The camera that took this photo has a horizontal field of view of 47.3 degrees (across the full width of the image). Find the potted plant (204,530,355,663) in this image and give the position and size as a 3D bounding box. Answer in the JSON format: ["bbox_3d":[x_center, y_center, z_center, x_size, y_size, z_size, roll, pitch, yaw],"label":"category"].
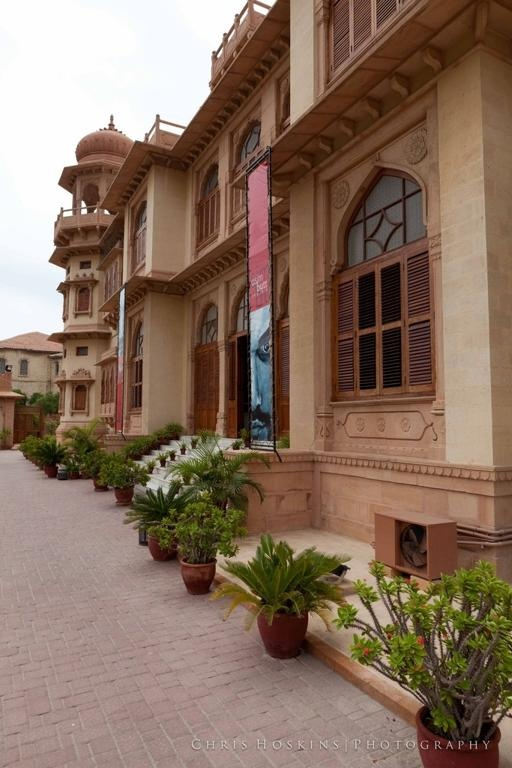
[{"bbox_3d":[0.196,1.611,4.373,0.908,0.773,0.835,0,-4,-9],"label":"potted plant"}]

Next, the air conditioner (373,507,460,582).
[{"bbox_3d":[1.564,1.583,5.804,0.383,0.528,0.744,2,-3,-29],"label":"air conditioner"}]
